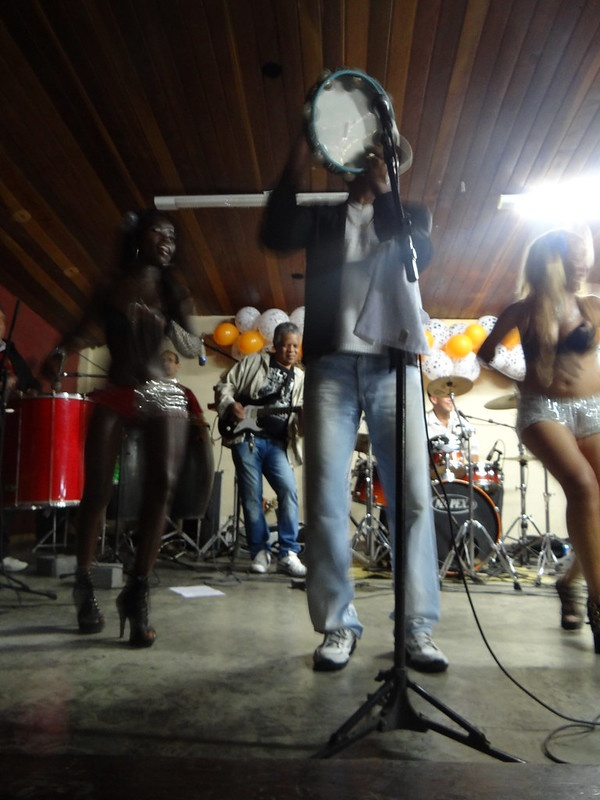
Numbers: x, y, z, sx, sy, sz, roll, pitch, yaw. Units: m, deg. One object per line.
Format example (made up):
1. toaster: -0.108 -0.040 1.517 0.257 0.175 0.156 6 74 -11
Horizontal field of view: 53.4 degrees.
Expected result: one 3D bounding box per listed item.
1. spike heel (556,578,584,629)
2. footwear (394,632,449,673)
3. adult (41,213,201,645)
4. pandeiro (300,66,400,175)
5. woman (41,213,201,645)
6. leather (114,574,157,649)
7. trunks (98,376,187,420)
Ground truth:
1. spike heel: 1.006 0.774 2.237 0.126 0.196 0.048 -1 -10 -6
2. footwear: 0.344 0.677 1.603 0.099 0.093 0.090 0 -9 -2
3. adult: -0.567 0.083 1.901 0.480 1.333 0.350 -8 -12 38
4. pandeiro: 0.097 -0.575 1.253 0.168 0.146 0.163 0 -9 -1
5. woman: -0.567 0.083 1.901 0.480 1.333 0.350 -8 -12 38
6. leather: -0.514 0.652 1.876 0.118 0.197 0.221 2 -9 -17
7. trunks: -0.485 0.004 1.876 0.206 0.116 0.132 -1 -11 6
